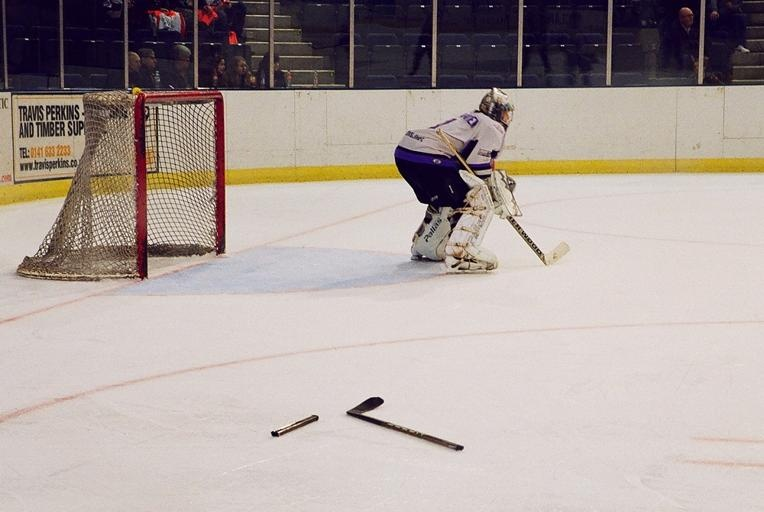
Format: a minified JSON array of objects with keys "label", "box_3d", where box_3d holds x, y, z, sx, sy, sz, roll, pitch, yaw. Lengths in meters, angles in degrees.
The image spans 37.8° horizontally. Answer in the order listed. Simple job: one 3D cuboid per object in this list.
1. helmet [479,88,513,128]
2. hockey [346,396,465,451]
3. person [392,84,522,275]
[{"label":"helmet","box_3d":[0.945,-1.225,9.025,0.375,0.313,0.269,1,24,-3]},{"label":"hockey","box_3d":[0.101,0.908,5.959,0.254,0.144,0.697,-9,14,-42]},{"label":"person","box_3d":[0.631,-0.654,8.974,1.124,1.323,0.991,-4,4,-6]}]
